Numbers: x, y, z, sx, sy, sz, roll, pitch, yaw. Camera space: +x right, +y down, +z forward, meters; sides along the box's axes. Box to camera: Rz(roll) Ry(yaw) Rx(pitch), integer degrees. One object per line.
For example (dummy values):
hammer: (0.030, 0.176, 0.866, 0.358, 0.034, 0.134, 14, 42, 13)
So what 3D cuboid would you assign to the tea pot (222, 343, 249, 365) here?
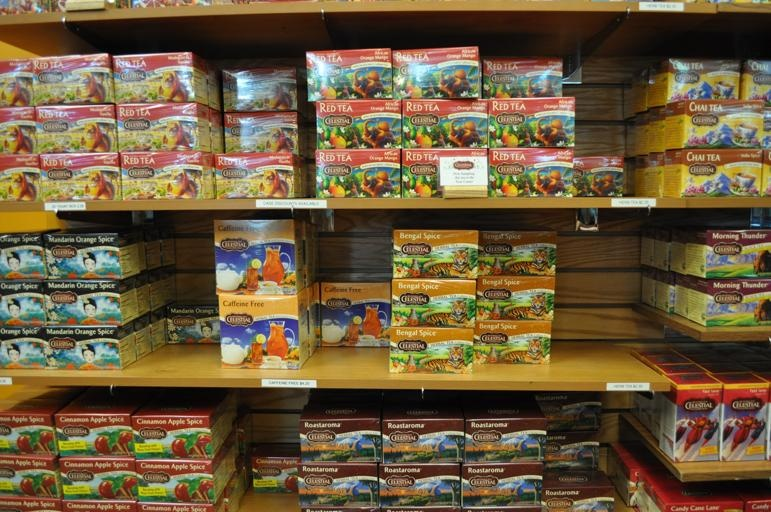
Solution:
tea pot: (-0.779, 0.506, 3.364, 0.179, 0.085, 0.110, 1, -2, -19)
